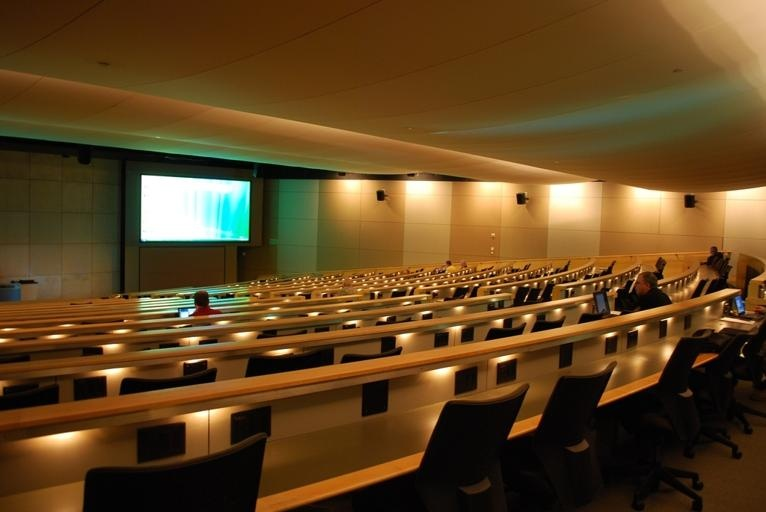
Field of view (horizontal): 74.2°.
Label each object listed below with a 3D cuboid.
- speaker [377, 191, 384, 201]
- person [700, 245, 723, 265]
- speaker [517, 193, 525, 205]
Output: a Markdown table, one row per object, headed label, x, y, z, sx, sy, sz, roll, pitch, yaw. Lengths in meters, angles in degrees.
| label | x | y | z | sx | sy | sz | roll | pitch | yaw |
| --- | --- | --- | --- | --- | --- | --- | --- | --- | --- |
| speaker | -0.057 | -2.436 | 20.124 | 0.395 | 0.428 | 0.298 | 2 | -1 | -1 |
| person | 9.313 | -0.051 | 14.255 | 0.547 | 0.677 | 0.487 | 7 | 17 | 43 |
| speaker | 5.082 | -2.115 | 18.400 | 0.401 | 0.389 | 0.319 | 2 | -2 | 12 |
